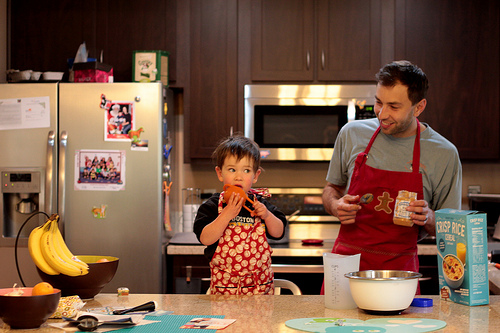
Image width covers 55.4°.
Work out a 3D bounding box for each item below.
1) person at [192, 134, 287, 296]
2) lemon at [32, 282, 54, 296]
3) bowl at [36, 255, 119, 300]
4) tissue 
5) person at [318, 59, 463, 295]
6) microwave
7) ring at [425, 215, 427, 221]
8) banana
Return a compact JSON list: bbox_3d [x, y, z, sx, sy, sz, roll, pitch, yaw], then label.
[{"bbox_3d":[-0.051,0.252,2.264,0.436,0.764,0.328,0,11,4],"label":"person"},{"bbox_3d":[-0.801,0.475,1.842,0.067,0.057,0.057,-19,-18,-2],"label":"lemon"},{"bbox_3d":[-0.767,0.509,2.152,0.330,0.159,0.334,-1,-8,0],"label":"bowl"},{"bbox_3d":[-1.158,-0.660,3.463,0.286,0.377,0.369,1,-1,-35],"label":"tissue "},{"bbox_3d":[0.699,0.060,2.428,0.696,1.162,0.492,4,12,23],"label":"person"},{"bbox_3d":[0.376,-0.466,3.580,0.910,0.598,0.584,3,0,-2],"label":"microwave"},{"bbox_3d":[0.827,0.241,2.238,0.006,0.021,0.015,10,-12,-27],"label":"ring"},{"bbox_3d":[-0.831,0.366,2.034,0.106,0.291,0.216,-42,-29,23],"label":"banana"}]
